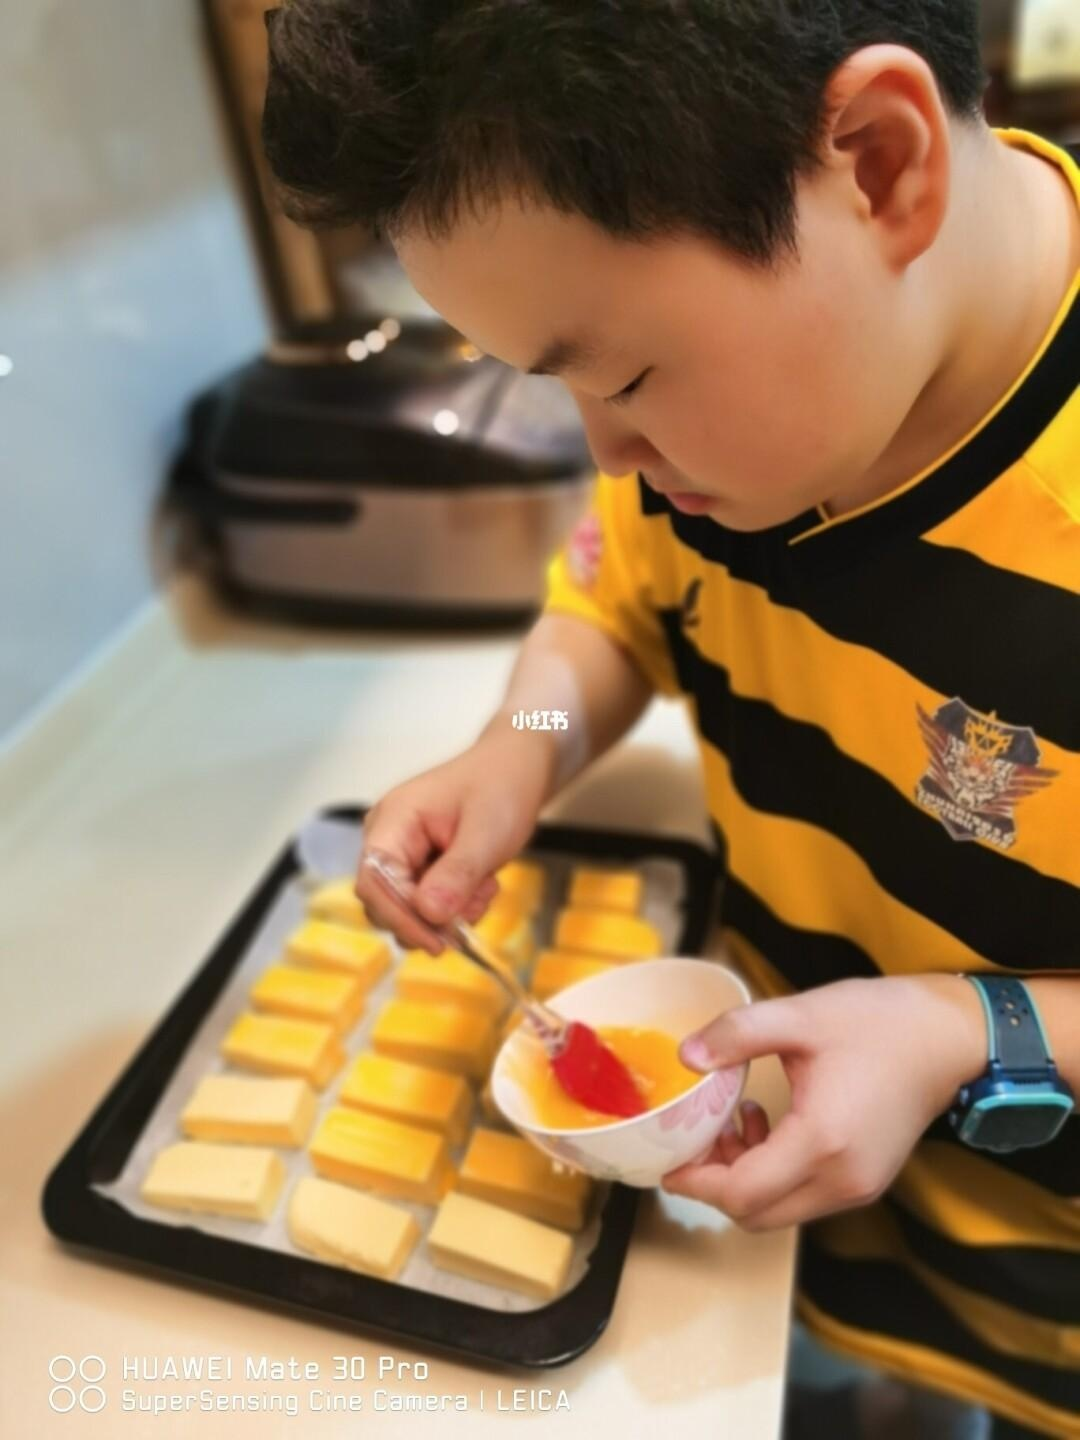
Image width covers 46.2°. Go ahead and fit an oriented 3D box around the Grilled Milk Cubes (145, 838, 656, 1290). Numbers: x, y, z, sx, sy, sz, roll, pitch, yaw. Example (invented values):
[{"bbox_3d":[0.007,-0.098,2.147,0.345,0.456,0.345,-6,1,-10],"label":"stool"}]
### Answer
[{"bbox_3d":[-0.092,0.152,0.582,0.175,0.021,0.165,2,36,21],"label":"Grilled Milk Cubes"}]
